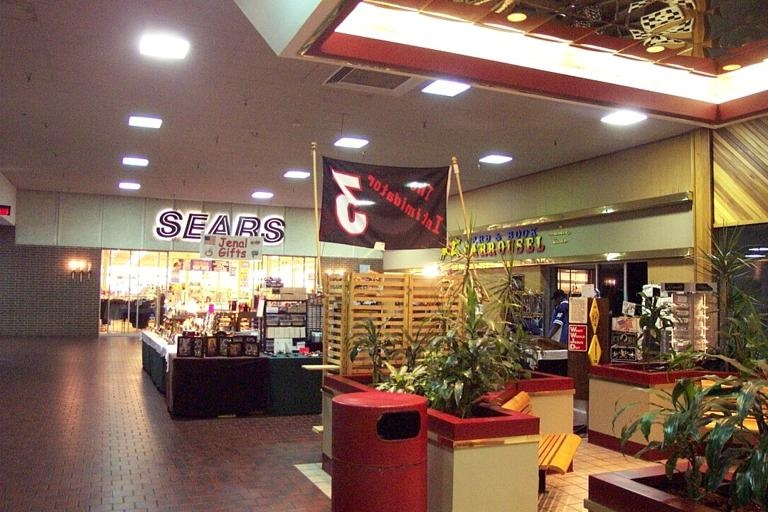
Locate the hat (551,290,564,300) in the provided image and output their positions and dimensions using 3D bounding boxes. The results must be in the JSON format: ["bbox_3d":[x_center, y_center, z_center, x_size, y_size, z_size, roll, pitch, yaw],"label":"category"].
[{"bbox_3d":[3.223,0.721,9.671,0.149,0.206,0.201,1,3,-28],"label":"hat"}]

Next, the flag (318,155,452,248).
[{"bbox_3d":[0.020,-0.725,7.032,2.157,1.554,0.164,2,-1,-11],"label":"flag"}]

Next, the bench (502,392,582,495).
[{"bbox_3d":[1.535,1.836,5.153,0.571,0.661,1.096,-3,-5,25],"label":"bench"}]
